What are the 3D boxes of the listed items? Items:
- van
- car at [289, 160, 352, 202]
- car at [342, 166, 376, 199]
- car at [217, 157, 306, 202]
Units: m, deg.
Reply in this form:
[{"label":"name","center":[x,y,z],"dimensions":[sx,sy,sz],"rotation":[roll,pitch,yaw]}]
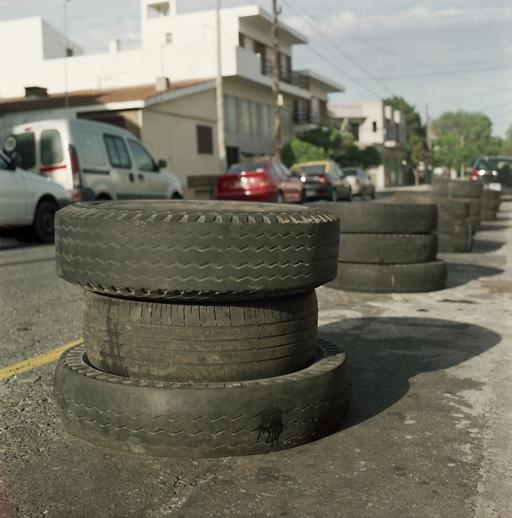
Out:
[{"label":"van","center":[-2.808,-1.705,13.532],"dimensions":[1.468,1.231,2.617],"rotation":[4,13,26]},{"label":"car","center":[2.238,-2.653,26.060],"dimensions":[1.027,0.786,2.447],"rotation":[1,12,15]},{"label":"car","center":[4.290,-3.222,33.168],"dimensions":[1.059,0.918,2.732],"rotation":[1,17,11]},{"label":"car","center":[0.219,-2.209,21.459],"dimensions":[1.180,0.868,2.824],"rotation":[1,11,15]}]
